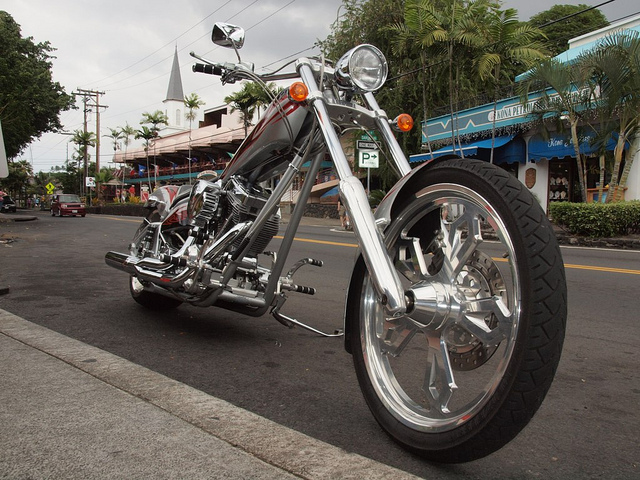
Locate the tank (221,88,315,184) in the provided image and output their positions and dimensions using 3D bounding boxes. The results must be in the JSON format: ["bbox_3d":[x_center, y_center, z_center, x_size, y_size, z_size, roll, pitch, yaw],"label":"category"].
[{"bbox_3d":[-0.426,-0.750,3.425,0.869,0.505,0.401,-37,-39,29],"label":"tank"}]

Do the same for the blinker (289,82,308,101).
[{"bbox_3d":[-0.138,-0.979,2.790,0.123,0.129,0.026,8,-8,-24],"label":"blinker"}]

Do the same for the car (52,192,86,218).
[{"bbox_3d":[-21.794,-3.055,36.682,2.116,1.760,3.563,0,4,-35],"label":"car"}]

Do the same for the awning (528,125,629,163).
[{"bbox_3d":[11.500,-4.259,18.686,0.401,0.816,2.716,-4,8,-20],"label":"awning"}]

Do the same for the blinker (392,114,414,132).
[{"bbox_3d":[0.558,-0.782,2.930,0.100,0.090,0.172,-35,13,-20],"label":"blinker"}]

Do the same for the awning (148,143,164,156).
[{"bbox_3d":[-30.010,-16.264,76.506,2.513,1.158,3.507,-25,16,-18],"label":"awning"}]
